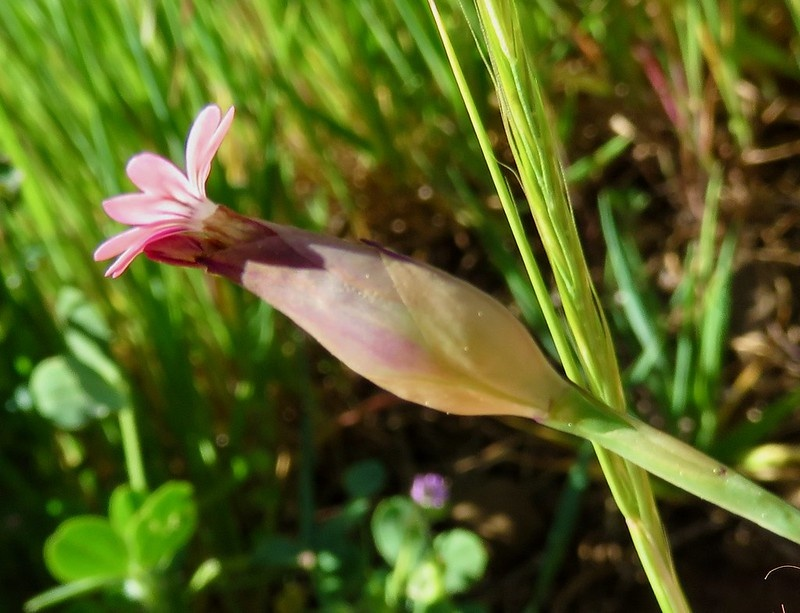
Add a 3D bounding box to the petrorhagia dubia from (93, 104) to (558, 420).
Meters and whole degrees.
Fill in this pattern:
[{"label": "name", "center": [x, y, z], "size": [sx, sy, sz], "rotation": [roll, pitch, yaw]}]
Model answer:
[{"label": "petrorhagia dubia", "center": [-0.114, -0.054, 1.123], "size": [0.651, 0.232, 0.282], "rotation": [29, 54, 13]}]
